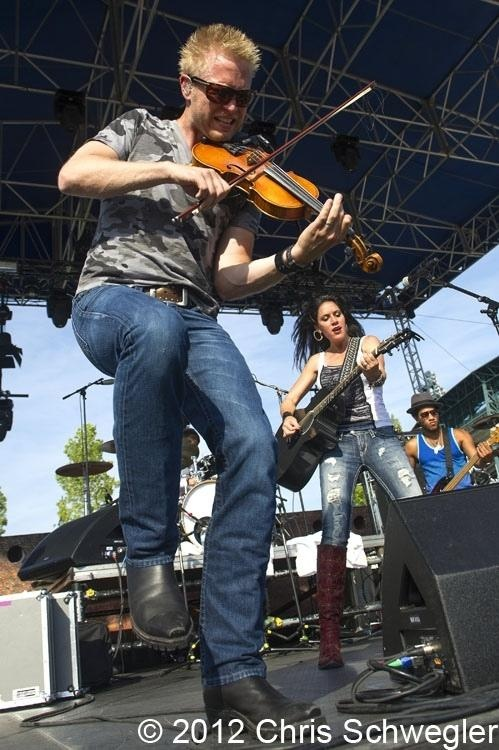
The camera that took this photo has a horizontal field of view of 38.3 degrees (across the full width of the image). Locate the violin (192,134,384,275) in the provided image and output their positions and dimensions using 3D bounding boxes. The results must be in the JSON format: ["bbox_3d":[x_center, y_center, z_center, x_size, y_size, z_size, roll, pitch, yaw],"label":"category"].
[{"bbox_3d":[0.008,-0.668,2.666,0.365,0.148,0.933,-19,53,-43],"label":"violin"}]

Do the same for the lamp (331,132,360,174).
[{"bbox_3d":[1.433,-3.438,11.220,0.474,0.575,0.240,-16,19,-27],"label":"lamp"}]

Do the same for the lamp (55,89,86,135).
[{"bbox_3d":[-2.355,-3.462,9.480,0.424,0.511,0.193,0,27,-17],"label":"lamp"}]

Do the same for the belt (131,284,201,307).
[{"bbox_3d":[-0.244,-0.247,2.205,0.114,0.034,0.079,9,28,-9],"label":"belt"}]

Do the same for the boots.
[{"bbox_3d":[0.427,1.167,3.630,0.164,0.570,0.276,3,-12,-5],"label":"boots"}]

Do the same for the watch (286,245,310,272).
[{"bbox_3d":[0.169,-0.396,2.460,0.079,0.084,0.083,3,4,16],"label":"watch"}]

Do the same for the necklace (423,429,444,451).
[{"bbox_3d":[1.518,0.533,5.957,0.142,0.170,0.044,-5,-33,14],"label":"necklace"}]
